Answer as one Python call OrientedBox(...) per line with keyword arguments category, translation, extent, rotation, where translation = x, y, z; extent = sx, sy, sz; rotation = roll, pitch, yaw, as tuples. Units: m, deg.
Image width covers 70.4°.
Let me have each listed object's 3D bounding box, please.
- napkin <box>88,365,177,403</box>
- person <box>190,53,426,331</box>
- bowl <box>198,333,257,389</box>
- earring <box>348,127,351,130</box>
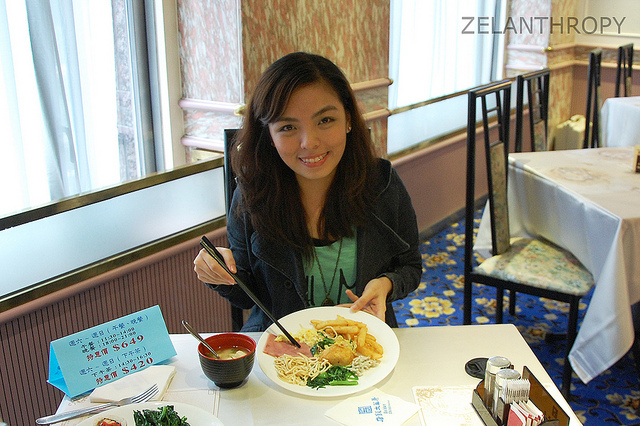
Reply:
OrientedBox(category="napkin", translation=(-0.518, 0.482, 1.265), extent=(0.207, 0.034, 0.116), rotation=(-4, 22, -1))
OrientedBox(category="person", translation=(-0.022, -0.097, 1.694), extent=(0.783, 0.946, 0.452), rotation=(2, 23, 15))
OrientedBox(category="bowl", translation=(-0.255, 0.429, 1.265), extent=(0.131, 0.095, 0.125), rotation=(-1, 0, 0))
OrientedBox(category="earring", translation=(0.110, -0.321, 1.707), extent=(0.010, 0.011, 0.003), rotation=(-8, 5, -19))
